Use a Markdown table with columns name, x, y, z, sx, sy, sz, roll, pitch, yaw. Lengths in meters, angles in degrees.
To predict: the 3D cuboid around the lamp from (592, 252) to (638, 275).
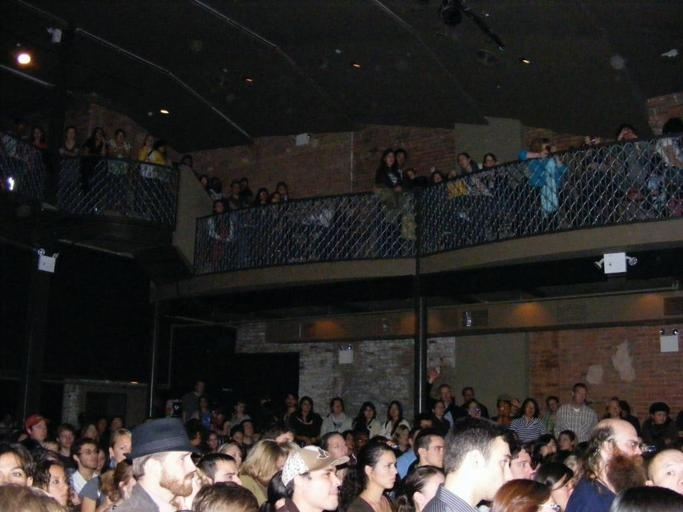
| name | x | y | z | sx | sy | sz | roll | pitch | yaw |
| --- | --- | --- | --- | --- | --- | --- | --- | --- | --- |
| lamp | 4.555 | 0.116 | 13.066 | 0.424 | 0.253 | 0.500 | -1 | -7 | 3 |

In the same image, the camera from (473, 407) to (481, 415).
| name | x | y | z | sx | sy | sz | roll | pitch | yaw |
| --- | --- | --- | --- | --- | --- | --- | --- | --- | --- |
| camera | 2.433 | 2.777 | 13.993 | 0.125 | 0.093 | 0.187 | 2 | -3 | 17 |

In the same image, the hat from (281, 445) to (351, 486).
| name | x | y | z | sx | sy | sz | roll | pitch | yaw |
| --- | --- | --- | --- | --- | --- | --- | --- | --- | --- |
| hat | -0.260 | 1.828 | 7.081 | 0.499 | 0.196 | 0.334 | -16 | -1 | -3 |

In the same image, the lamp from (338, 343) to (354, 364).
| name | x | y | z | sx | sy | sz | roll | pitch | yaw |
| --- | --- | --- | --- | --- | --- | --- | --- | --- | --- |
| lamp | 0.084 | 2.483 | 19.901 | 0.421 | 0.476 | 0.426 | -3 | -11 | 15 |

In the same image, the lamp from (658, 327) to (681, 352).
| name | x | y | z | sx | sy | sz | roll | pitch | yaw |
| --- | --- | --- | --- | --- | --- | --- | --- | --- | --- |
| lamp | 6.805 | 1.770 | 16.320 | 0.494 | 0.723 | 0.405 | -4 | -11 | 35 |

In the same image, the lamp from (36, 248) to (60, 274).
| name | x | y | z | sx | sy | sz | roll | pitch | yaw |
| --- | --- | --- | --- | --- | --- | --- | --- | --- | --- |
| lamp | -6.239 | 0.109 | 16.557 | 0.536 | 0.585 | 0.403 | 6 | -3 | -20 |
